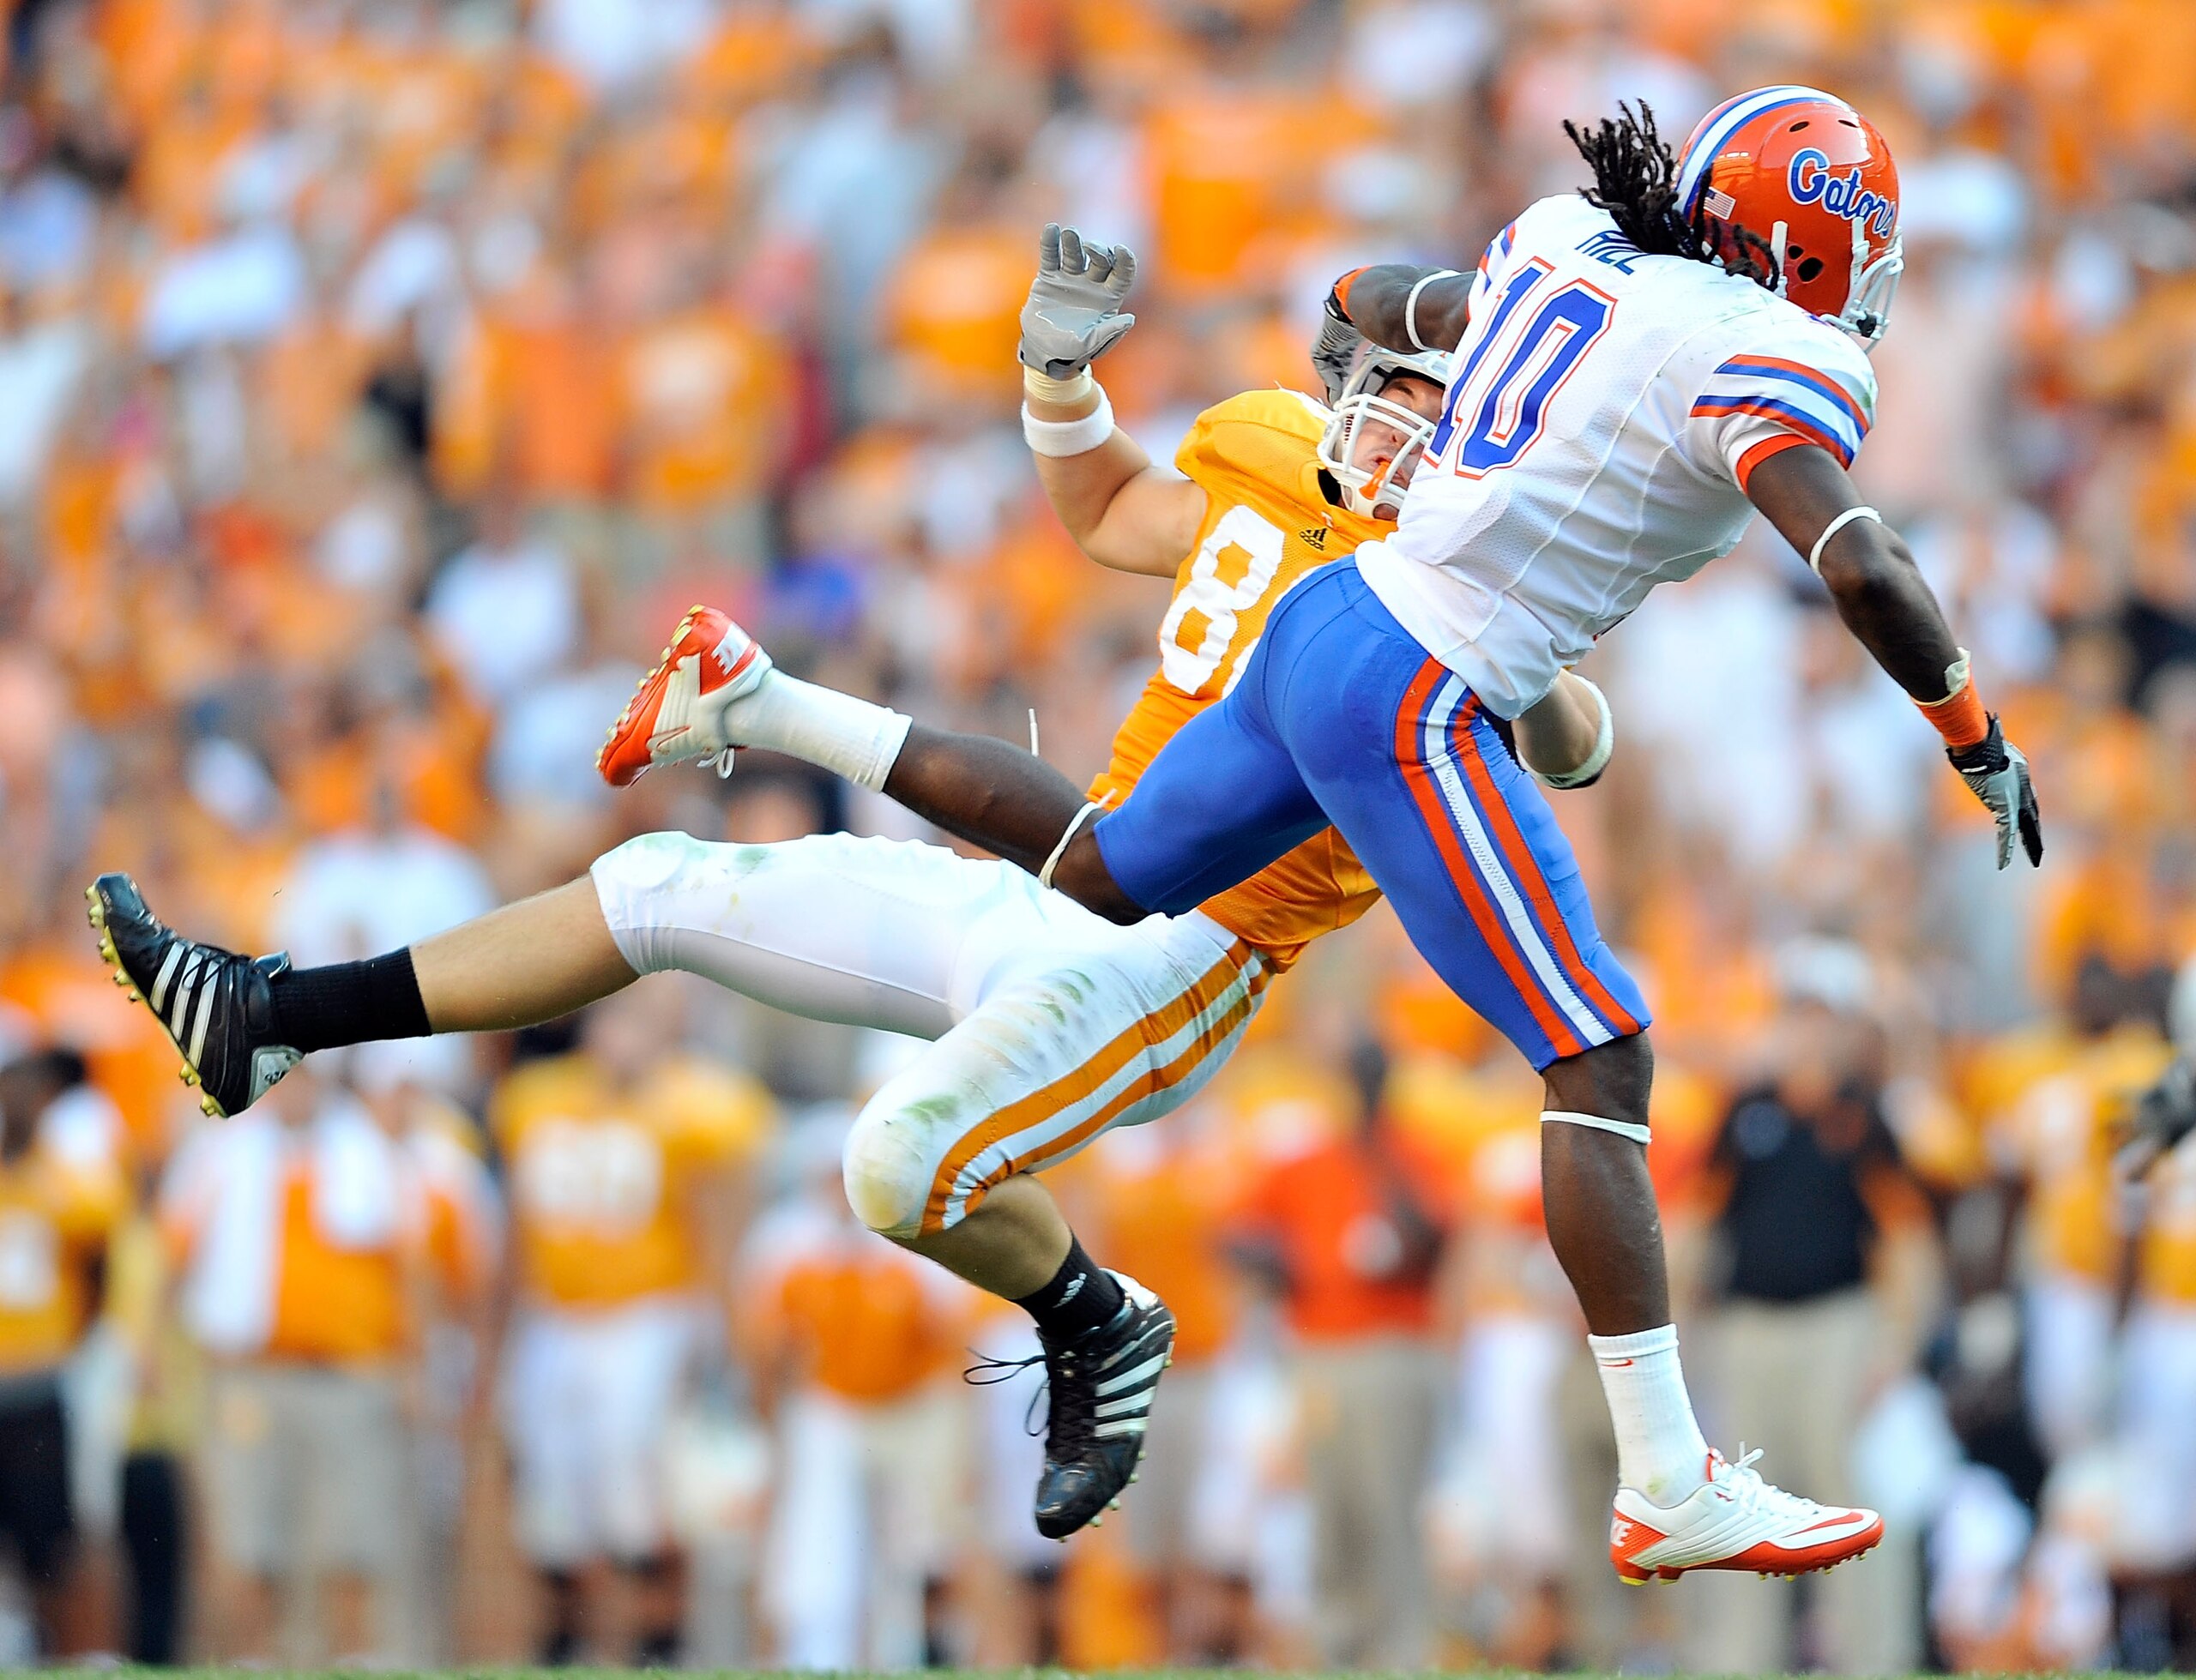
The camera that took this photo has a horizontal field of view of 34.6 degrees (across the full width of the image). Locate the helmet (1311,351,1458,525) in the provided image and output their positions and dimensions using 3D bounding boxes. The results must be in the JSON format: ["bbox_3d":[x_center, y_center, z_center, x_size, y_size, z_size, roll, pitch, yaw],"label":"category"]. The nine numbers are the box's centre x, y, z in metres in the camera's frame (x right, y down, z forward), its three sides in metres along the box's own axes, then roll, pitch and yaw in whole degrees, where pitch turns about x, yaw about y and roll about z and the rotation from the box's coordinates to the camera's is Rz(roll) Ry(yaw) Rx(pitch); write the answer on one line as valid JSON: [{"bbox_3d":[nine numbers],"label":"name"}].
[{"bbox_3d":[0.579,-0.875,7.311,0.240,0.355,0.363,10,69,7],"label":"helmet"}]

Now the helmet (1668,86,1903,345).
[{"bbox_3d":[1.372,-1.245,7.081,0.487,0.380,0.443,6,96,-22],"label":"helmet"}]

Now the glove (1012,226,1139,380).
[{"bbox_3d":[-0.080,-1.182,7.667,0.143,0.389,0.355,17,68,19],"label":"glove"}]

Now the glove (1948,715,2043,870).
[{"bbox_3d":[1.774,-0.036,6.839,0.097,0.325,0.205,-19,46,25],"label":"glove"}]
